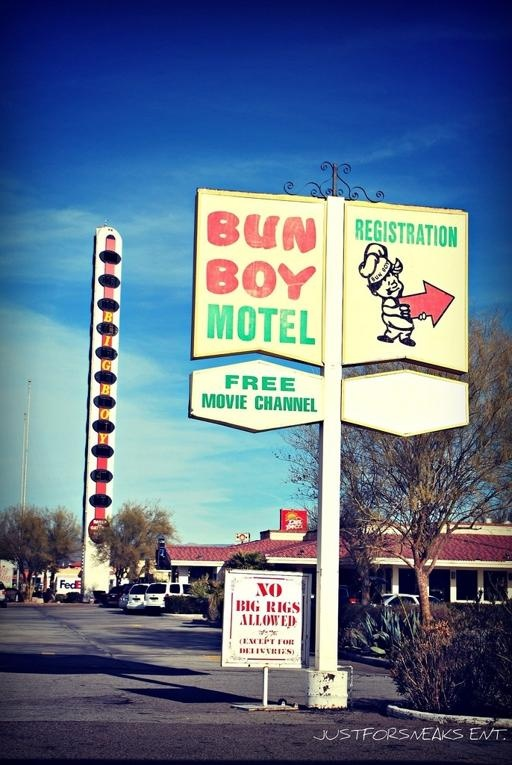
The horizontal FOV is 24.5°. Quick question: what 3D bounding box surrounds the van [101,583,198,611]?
[{"bbox_3d":[-4.231,9.165,50.231,2.212,1.296,4.872,8,-13,-33],"label":"van"}]
